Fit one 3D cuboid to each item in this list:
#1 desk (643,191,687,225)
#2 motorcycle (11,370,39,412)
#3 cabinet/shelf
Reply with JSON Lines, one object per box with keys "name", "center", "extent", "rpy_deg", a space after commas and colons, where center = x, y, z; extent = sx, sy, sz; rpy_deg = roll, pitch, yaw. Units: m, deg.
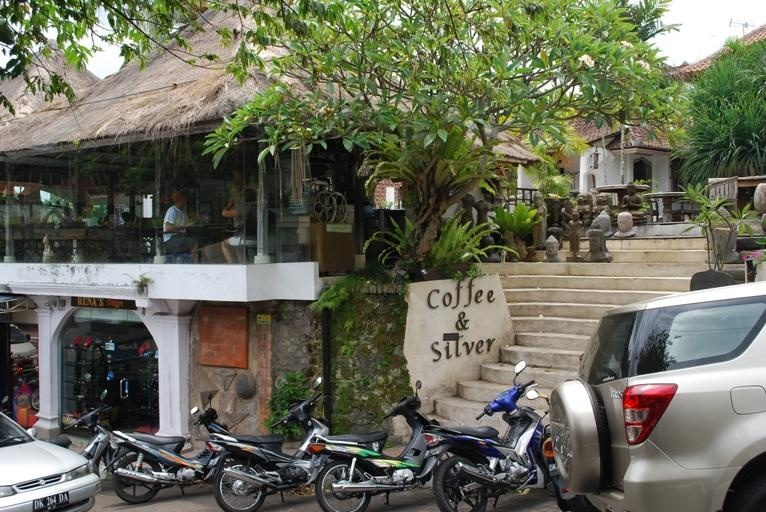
{"name": "desk", "center": [7.962, -1.403, 20.457], "extent": [0.938, 1.016, 2.811], "rpy_deg": [0, 0, 20]}
{"name": "motorcycle", "center": [-8.430, 3.122, 17.055], "extent": [0.716, 1.118, 0.605], "rpy_deg": [1, -3, -7]}
{"name": "cabinet/shelf", "center": [-5.558, 2.687, 15.254], "extent": [2.118, 1.828, 0.737], "rpy_deg": [2, 3, 25]}
